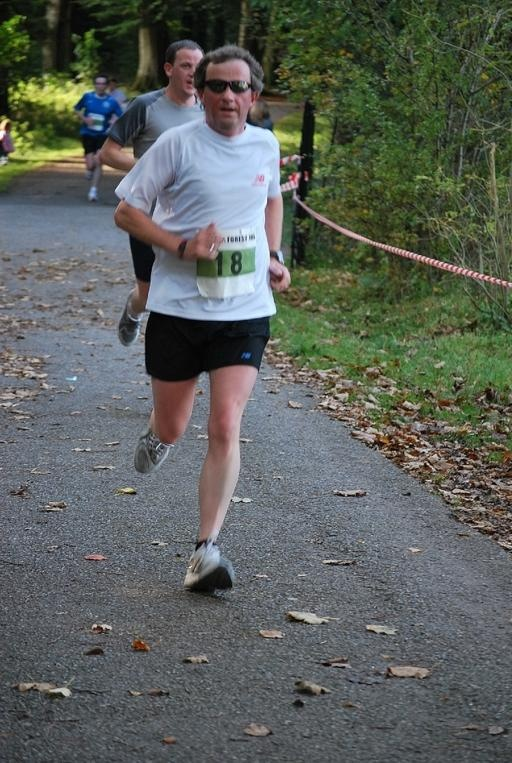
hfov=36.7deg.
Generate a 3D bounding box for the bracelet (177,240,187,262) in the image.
[{"bbox_3d":[-0.271,-0.491,2.853,0.023,0.054,0.043,18,2,-8],"label":"bracelet"}]

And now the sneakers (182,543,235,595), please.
[{"bbox_3d":[-0.175,0.697,2.857,0.125,0.112,0.253,7,-31,-14],"label":"sneakers"}]

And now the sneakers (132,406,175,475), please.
[{"bbox_3d":[-0.482,0.262,3.782,0.134,0.362,0.152,31,-31,-31],"label":"sneakers"}]

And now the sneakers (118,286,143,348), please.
[{"bbox_3d":[-1.021,-0.546,6.424,0.196,0.528,0.242,13,-20,-30],"label":"sneakers"}]

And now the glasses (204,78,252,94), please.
[{"bbox_3d":[-0.096,-1.106,2.904,0.179,0.059,0.075,2,7,-12],"label":"glasses"}]

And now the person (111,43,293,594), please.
[{"bbox_3d":[-0.206,-0.281,3.118,0.625,2.117,0.697,7,7,19],"label":"person"}]

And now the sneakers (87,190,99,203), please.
[{"bbox_3d":[-3.857,-4.401,18.361,0.185,0.203,0.473,-1,-2,-6],"label":"sneakers"}]

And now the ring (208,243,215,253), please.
[{"bbox_3d":[-0.159,-0.493,2.843,0.010,0.028,0.030,25,14,-14],"label":"ring"}]
